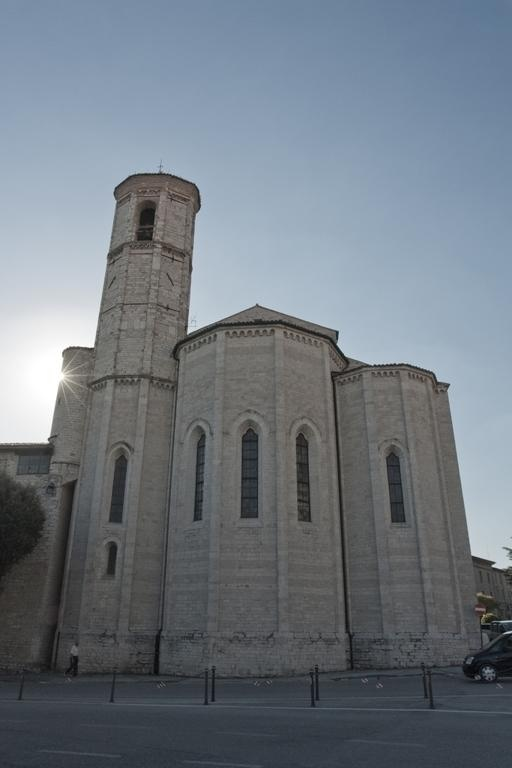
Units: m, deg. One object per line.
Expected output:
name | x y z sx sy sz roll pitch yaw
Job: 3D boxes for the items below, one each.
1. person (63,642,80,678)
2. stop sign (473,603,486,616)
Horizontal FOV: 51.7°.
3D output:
person | -7.120 10.791 20.747 0.484 1.163 2.164 8 -28 -15
stop sign | 9.867 10.009 23.473 0.408 0.477 1.641 -9 -28 17
